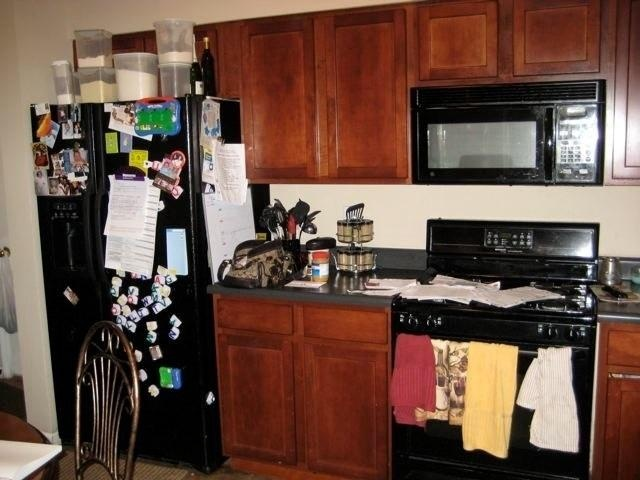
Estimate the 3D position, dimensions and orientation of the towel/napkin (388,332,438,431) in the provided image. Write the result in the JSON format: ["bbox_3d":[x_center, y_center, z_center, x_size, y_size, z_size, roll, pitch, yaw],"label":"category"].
[{"bbox_3d":[0.444,0.675,2.525,0.235,0.411,0.095,0,0,31],"label":"towel/napkin"}]

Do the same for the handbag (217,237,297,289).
[{"bbox_3d":[-0.337,0.108,2.956,0.253,0.191,0.361,8,10,40],"label":"handbag"}]

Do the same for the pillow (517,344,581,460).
[{"bbox_3d":[1.031,0.721,2.361,0.262,0.470,0.102,2,7,20],"label":"pillow"}]

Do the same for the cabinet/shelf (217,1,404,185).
[{"bbox_3d":[-0.020,-0.817,2.885,0.990,0.872,0.322,2,10,16],"label":"cabinet/shelf"}]

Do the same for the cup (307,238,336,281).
[{"bbox_3d":[0.001,0.104,3.066,0.165,0.223,0.367,-1,7,-1],"label":"cup"}]

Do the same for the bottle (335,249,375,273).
[{"bbox_3d":[0.212,0.117,3.124,0.263,0.148,0.217,-1,7,1],"label":"bottle"}]

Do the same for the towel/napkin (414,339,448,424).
[{"bbox_3d":[0.537,0.680,2.497,0.238,0.332,0.088,-1,-6,31],"label":"towel/napkin"}]

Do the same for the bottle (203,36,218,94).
[{"bbox_3d":[-0.653,-1.001,3.016,0.069,0.348,0.115,0,7,3],"label":"bottle"}]

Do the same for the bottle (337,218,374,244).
[{"bbox_3d":[0.197,-0.042,3.053,0.155,0.095,0.156,0,10,0],"label":"bottle"}]

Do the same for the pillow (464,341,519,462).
[{"bbox_3d":[0.790,0.742,2.426,0.235,0.521,0.076,2,7,20],"label":"pillow"}]
